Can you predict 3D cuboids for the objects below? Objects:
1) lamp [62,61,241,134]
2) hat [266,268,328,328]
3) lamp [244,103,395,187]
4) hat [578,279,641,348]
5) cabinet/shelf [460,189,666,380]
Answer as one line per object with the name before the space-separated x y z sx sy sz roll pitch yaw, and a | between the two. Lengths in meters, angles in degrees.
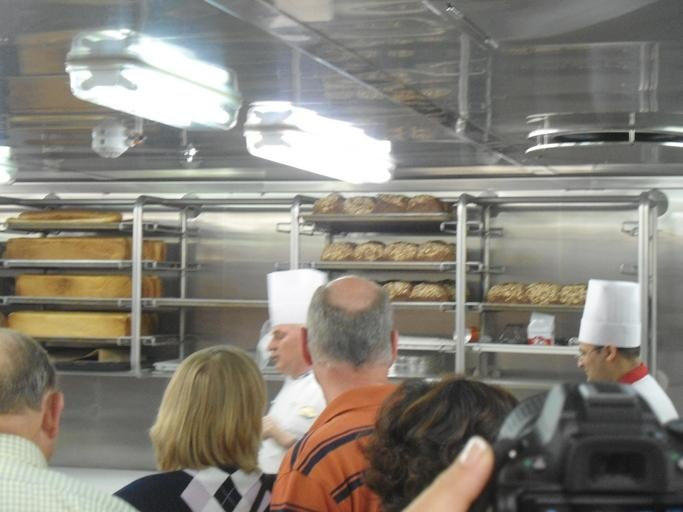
lamp | -0.748 -0.660 4.037 0.465 0.141 0.773 0 -2 29
hat | -0.173 0.183 4.528 0.354 0.224 0.273 7 -11 -36
lamp | -0.096 -0.491 4.392 0.333 0.121 0.650 -7 -13 38
hat | 1.121 0.238 4.068 0.236 0.275 0.248 1 -2 17
cabinet/shelf | 1.301 -0.033 5.708 1.115 0.769 0.319 -3 20 8
